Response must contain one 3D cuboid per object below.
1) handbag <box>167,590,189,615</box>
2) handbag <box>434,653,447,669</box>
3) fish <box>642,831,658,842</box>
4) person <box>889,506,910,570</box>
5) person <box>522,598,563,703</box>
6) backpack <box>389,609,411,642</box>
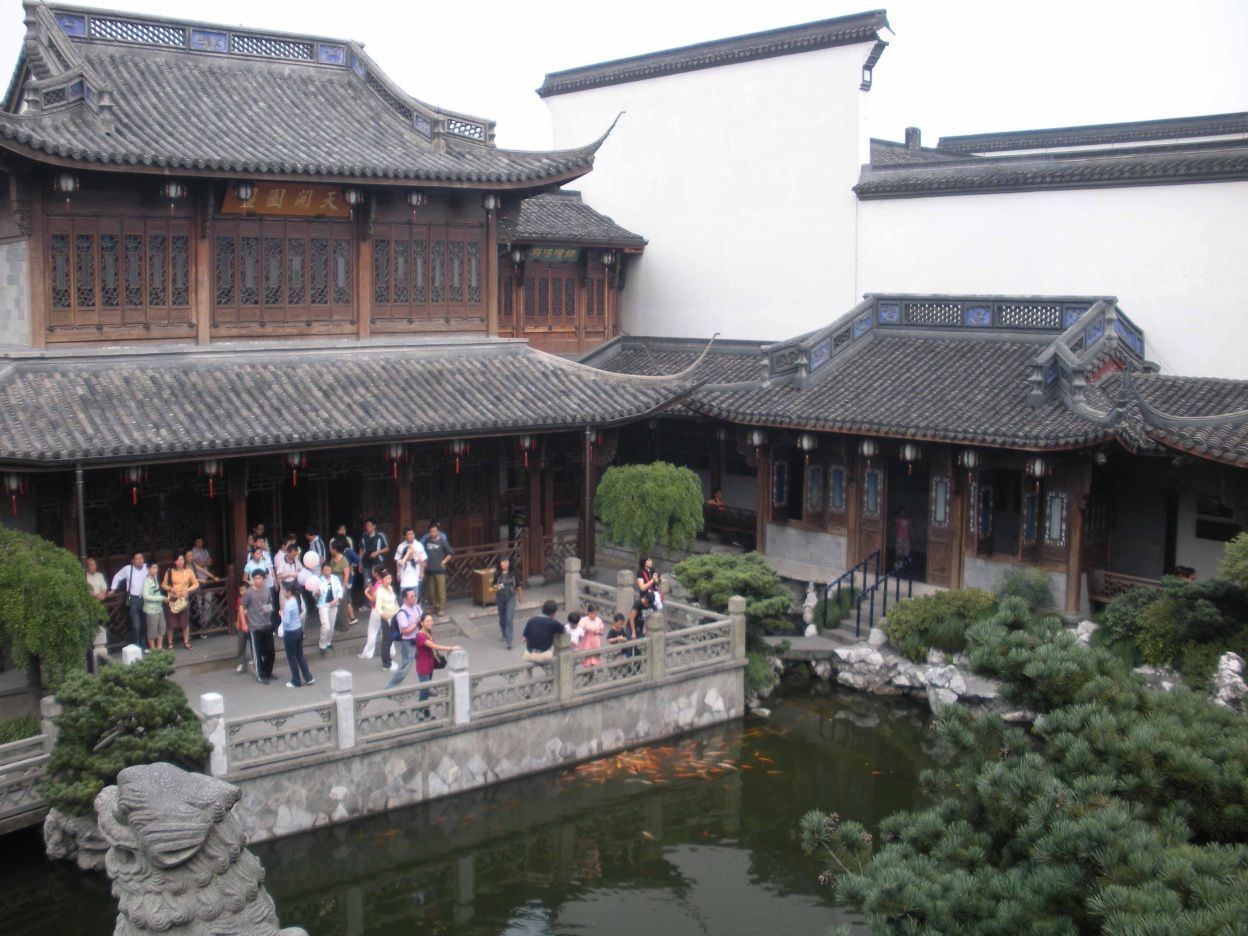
[{"bbox_3d":[-7.494,2.266,20.807,0.270,0.373,0.351,7,0,25],"label":"handbag"},{"bbox_3d":[-3.073,3.250,20.681,0.065,0.275,0.281,-9,-25,19],"label":"handbag"},{"bbox_3d":[0.382,5.474,18.365,0.193,0.076,0.287,0,2,-7],"label":"fish"},{"bbox_3d":[5.928,1.533,26.223,0.402,1.376,1.284,0,2,14],"label":"person"},{"bbox_3d":[-1.348,2.949,20.384,0.657,1.603,0.572,-7,27,-34],"label":"person"},{"bbox_3d":[-3.611,2.507,19.888,0.324,0.627,0.592,2,-4,-30],"label":"backpack"}]
